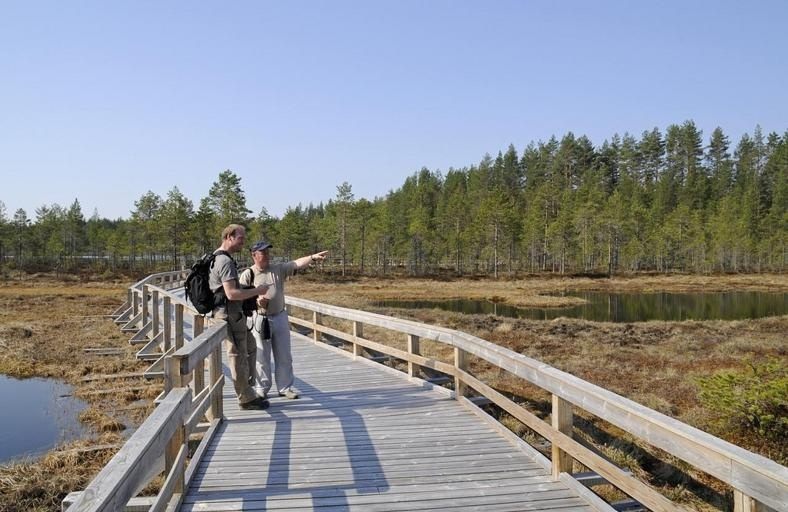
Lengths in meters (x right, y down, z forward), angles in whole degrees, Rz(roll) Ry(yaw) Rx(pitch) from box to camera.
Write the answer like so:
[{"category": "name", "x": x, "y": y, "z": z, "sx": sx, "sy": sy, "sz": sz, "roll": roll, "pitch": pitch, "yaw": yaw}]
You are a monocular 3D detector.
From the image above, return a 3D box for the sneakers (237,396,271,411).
[{"category": "sneakers", "x": -2.705, "y": 2.885, "z": 11.868, "sx": 0.456, "sy": 0.204, "sz": 0.250, "roll": 0, "pitch": 1, "yaw": -7}]

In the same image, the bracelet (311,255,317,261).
[{"category": "bracelet", "x": -1.580, "y": 0.035, "z": 12.208, "sx": 0.146, "sy": 0.125, "sz": 0.305, "roll": 0, "pitch": 1, "yaw": -15}]

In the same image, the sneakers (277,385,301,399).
[{"category": "sneakers", "x": -2.107, "y": 2.778, "z": 12.434, "sx": 0.530, "sy": 0.250, "sz": 0.195, "roll": -7, "pitch": -1, "yaw": 37}]
